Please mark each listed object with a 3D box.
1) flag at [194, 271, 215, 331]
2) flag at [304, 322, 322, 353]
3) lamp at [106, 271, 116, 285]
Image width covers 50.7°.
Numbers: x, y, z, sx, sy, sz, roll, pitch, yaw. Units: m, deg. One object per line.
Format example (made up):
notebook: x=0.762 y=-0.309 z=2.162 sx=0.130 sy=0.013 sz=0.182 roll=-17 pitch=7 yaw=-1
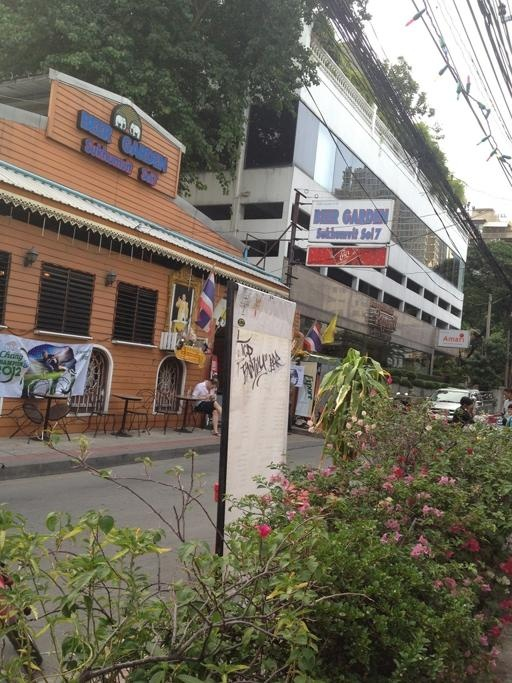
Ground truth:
flag: x=-1.286 y=-1.067 z=13.938 sx=0.379 sy=1.336 sz=1.076 roll=8 pitch=-3 yaw=-6
flag: x=1.770 y=-0.112 z=16.999 sx=0.506 sy=0.784 sz=0.949 roll=7 pitch=-3 yaw=6
lamp: x=-3.386 y=-1.448 z=12.611 sx=0.176 sy=0.308 sz=0.338 roll=7 pitch=-3 yaw=13
